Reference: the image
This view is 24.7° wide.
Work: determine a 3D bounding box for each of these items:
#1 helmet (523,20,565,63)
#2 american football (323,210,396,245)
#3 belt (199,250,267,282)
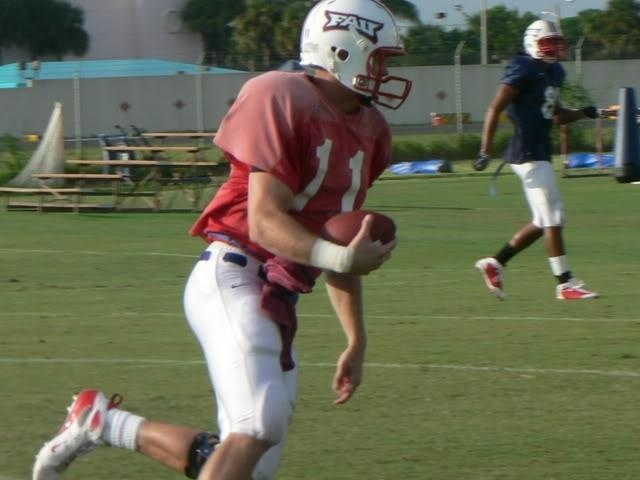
[{"bbox_3d":[2.224,-2.072,15.140,0.400,0.368,0.481,0,2,-30],"label":"helmet"},{"bbox_3d":[0.275,-0.091,10.537,0.532,0.240,0.278,-2,14,-4],"label":"american football"},{"bbox_3d":[-0.599,0.152,10.679,0.359,0.246,0.375,21,11,10],"label":"belt"}]
